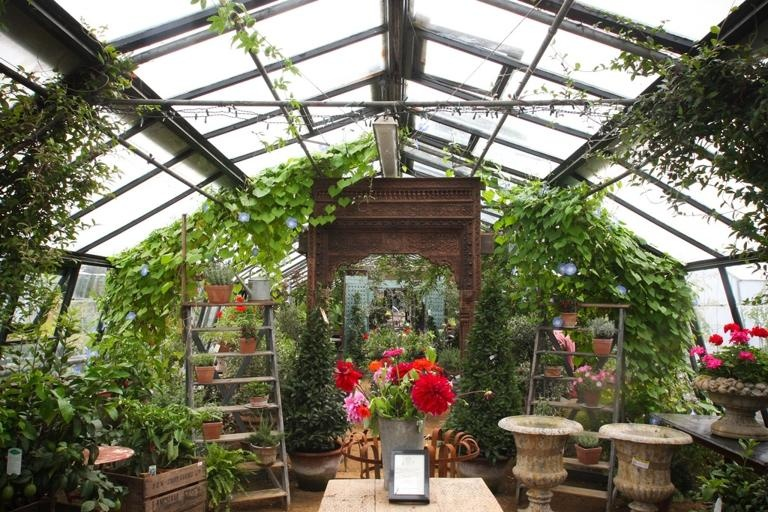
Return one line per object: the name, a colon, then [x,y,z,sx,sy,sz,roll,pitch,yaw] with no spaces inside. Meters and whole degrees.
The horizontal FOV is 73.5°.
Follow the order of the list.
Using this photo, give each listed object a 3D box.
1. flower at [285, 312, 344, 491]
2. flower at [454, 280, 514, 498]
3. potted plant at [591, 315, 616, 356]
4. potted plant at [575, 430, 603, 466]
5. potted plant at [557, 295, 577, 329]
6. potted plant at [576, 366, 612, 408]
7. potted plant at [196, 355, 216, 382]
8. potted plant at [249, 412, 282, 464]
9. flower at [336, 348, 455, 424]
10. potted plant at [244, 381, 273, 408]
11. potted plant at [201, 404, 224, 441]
flower: [-0.839,1.719,6.174,0.619,2.022,0.633,-9,-22,27]
flower: [1.208,1.488,6.148,0.710,2.341,0.510,-14,-24,36]
potted plant: [2.536,0.922,5.966,0.303,0.416,0.315,1,-7,13]
potted plant: [2.225,2.067,5.584,0.240,0.343,0.299,-6,-21,20]
potted plant: [2.154,0.639,6.029,0.294,0.466,0.317,2,-7,7]
potted plant: [2.435,1.520,6.152,0.525,0.512,0.458,2,-13,-3]
potted plant: [-1.966,1.217,5.626,0.227,0.301,0.222,6,-20,-14]
potted plant: [-1.303,2.013,5.659,0.394,0.509,0.378,-9,-15,41]
flower: [0.144,0.920,3.661,0.726,0.457,0.627,6,-10,-26]
potted plant: [-1.453,1.617,6.108,0.382,0.328,0.376,3,-18,-9]
potted plant: [-1.911,1.802,5.559,0.273,0.304,0.219,-12,-16,36]
